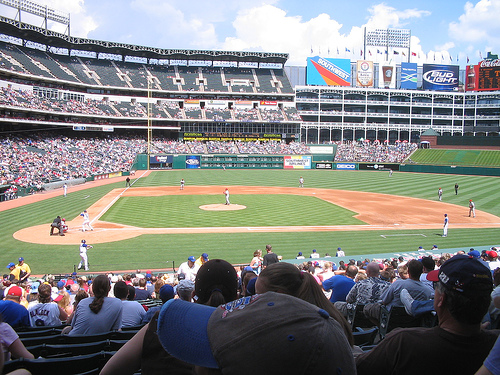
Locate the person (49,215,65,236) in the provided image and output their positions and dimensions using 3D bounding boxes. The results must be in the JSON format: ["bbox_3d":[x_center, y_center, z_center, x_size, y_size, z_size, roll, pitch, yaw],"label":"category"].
[{"bbox_3d":[-11.210,2.281,33.102,0.902,1.244,0.869,6,12,-19],"label":"person"}]

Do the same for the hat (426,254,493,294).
[{"bbox_3d":[4.342,1.780,11.783,0.748,0.574,0.977,-8,19,-28],"label":"hat"}]
